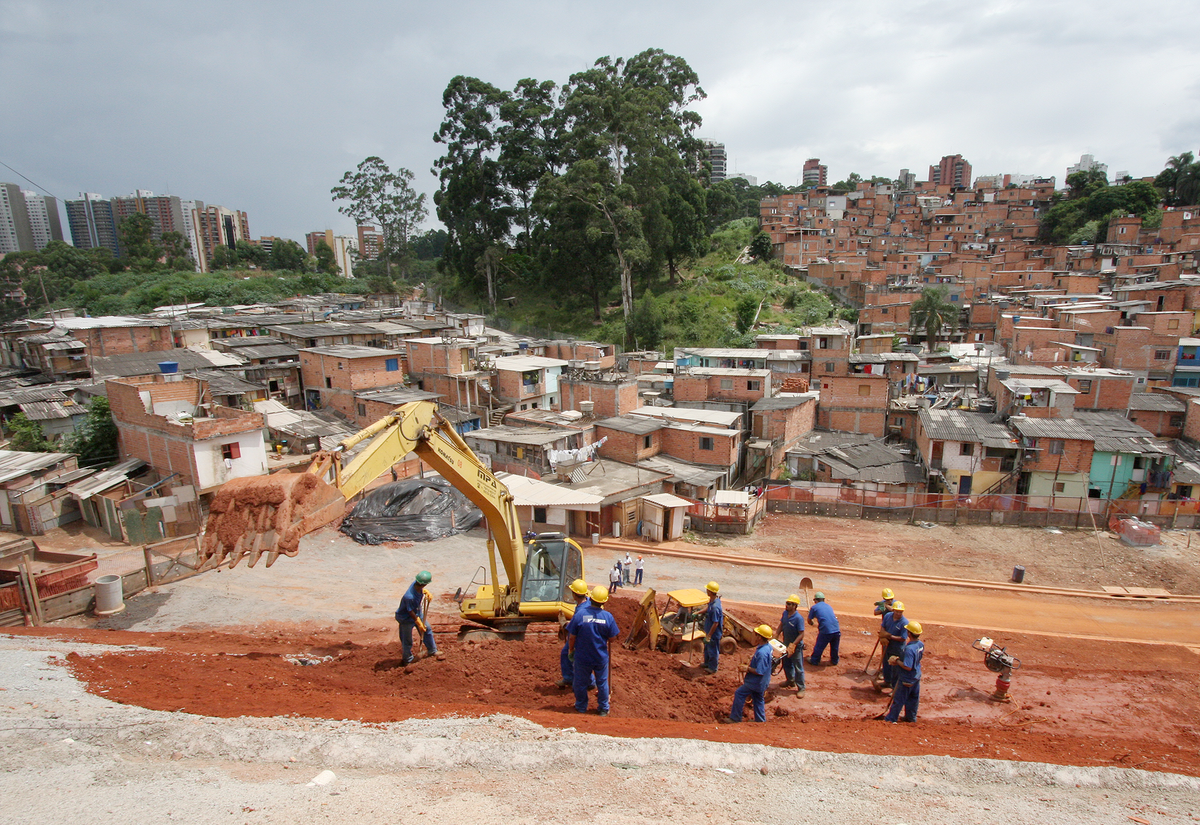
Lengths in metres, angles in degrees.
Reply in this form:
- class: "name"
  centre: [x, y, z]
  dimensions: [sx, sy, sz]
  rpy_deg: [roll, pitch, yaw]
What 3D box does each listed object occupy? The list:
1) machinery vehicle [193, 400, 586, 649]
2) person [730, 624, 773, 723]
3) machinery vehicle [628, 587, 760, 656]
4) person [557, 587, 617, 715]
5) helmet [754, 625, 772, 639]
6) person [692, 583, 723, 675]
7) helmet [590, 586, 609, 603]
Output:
- class: "machinery vehicle"
  centre: [-4.110, 2.469, 17.941]
  dimensions: [7.283, 5.363, 1.824]
  rpy_deg: [-1, 12, -27]
- class: "person"
  centre: [3.183, 5.401, 17.487]
  dimensions: [0.709, 2.151, 0.834]
  rpy_deg: [7, 11, 12]
- class: "machinery vehicle"
  centre: [2.295, 4.970, 19.932]
  dimensions: [2.566, 1.168, 1.530]
  rpy_deg: [0, 4, 6]
- class: "person"
  centre: [-0.189, 4.622, 16.721]
  dimensions: [1.000, 2.541, 0.679]
  rpy_deg: [6, 11, 6]
- class: "helmet"
  centre: [3.396, 4.478, 17.408]
  dimensions: [0.263, 0.277, 0.507]
  rpy_deg: [6, 10, 10]
- class: "person"
  centre: [2.503, 4.694, 18.806]
  dimensions: [0.486, 2.004, 0.952]
  rpy_deg: [6, 11, 8]
- class: "helmet"
  centre: [-0.040, 3.575, 16.468]
  dimensions: [0.354, 0.377, 0.427]
  rpy_deg: [3, 10, -4]
